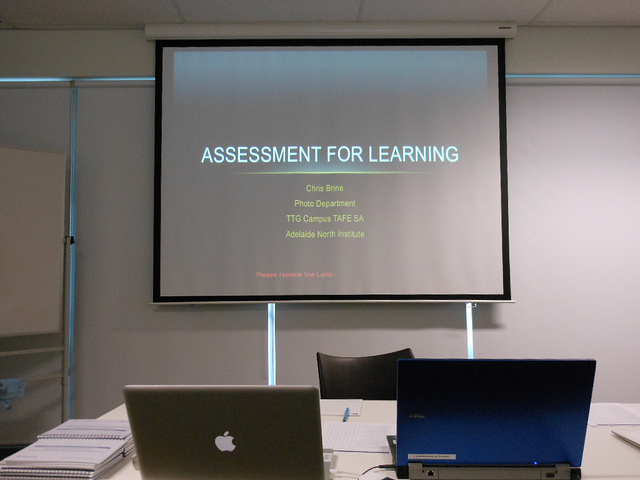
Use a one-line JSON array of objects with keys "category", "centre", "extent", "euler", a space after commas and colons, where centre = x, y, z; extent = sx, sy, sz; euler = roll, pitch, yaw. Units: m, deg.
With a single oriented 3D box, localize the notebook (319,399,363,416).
[{"category": "notebook", "centre": [0.105, 0.969, 3.275], "extent": [0.218, 0.009, 0.157], "euler": [0, 10, 7]}]
